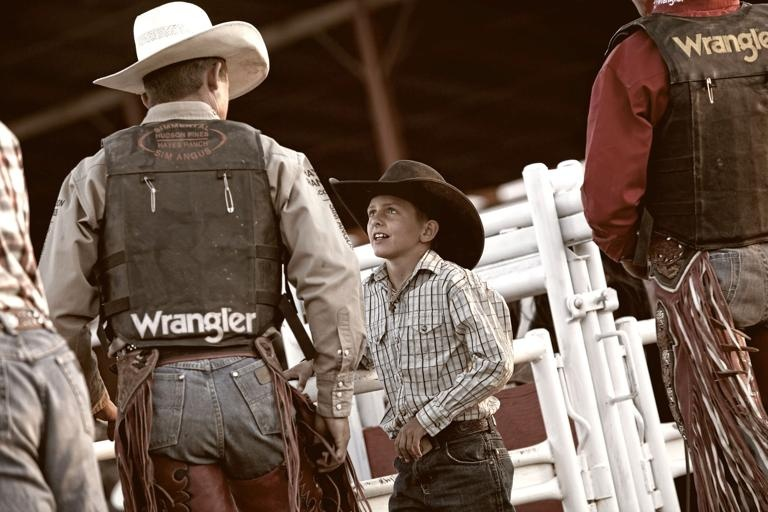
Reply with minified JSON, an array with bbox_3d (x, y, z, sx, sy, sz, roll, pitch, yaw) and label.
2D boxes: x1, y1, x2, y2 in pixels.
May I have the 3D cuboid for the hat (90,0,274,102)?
[{"bbox_3d":[-0.723,-0.903,4.594,0.509,0.207,0.546,-24,-16,33],"label":"hat"}]
